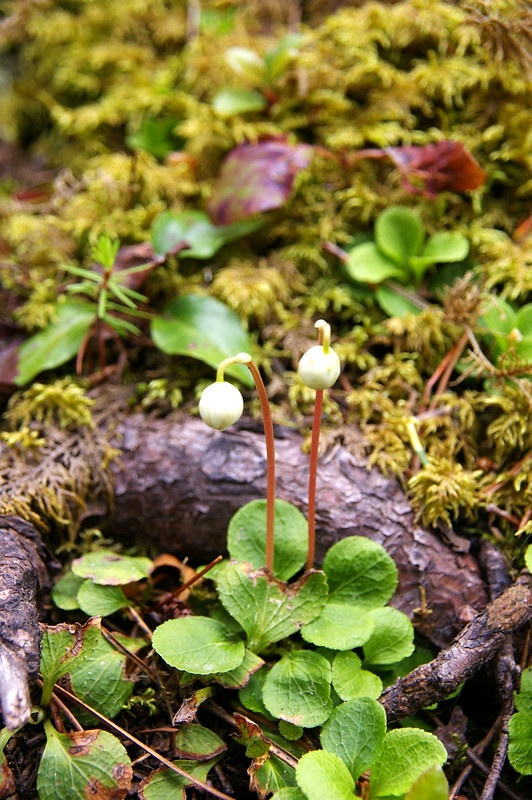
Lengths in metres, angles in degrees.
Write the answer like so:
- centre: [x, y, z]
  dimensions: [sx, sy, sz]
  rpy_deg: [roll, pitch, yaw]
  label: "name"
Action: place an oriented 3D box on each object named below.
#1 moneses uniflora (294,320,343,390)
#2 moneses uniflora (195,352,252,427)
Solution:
- centre: [0.125, -0.103, 1.689]
  dimensions: [0.089, 0.203, 0.155]
  rpy_deg: [-1, 37, 3]
  label: "moneses uniflora"
- centre: [-0.091, -0.027, 1.682]
  dimensions: [0.109, 0.197, 0.189]
  rpy_deg: [2, 37, 6]
  label: "moneses uniflora"
